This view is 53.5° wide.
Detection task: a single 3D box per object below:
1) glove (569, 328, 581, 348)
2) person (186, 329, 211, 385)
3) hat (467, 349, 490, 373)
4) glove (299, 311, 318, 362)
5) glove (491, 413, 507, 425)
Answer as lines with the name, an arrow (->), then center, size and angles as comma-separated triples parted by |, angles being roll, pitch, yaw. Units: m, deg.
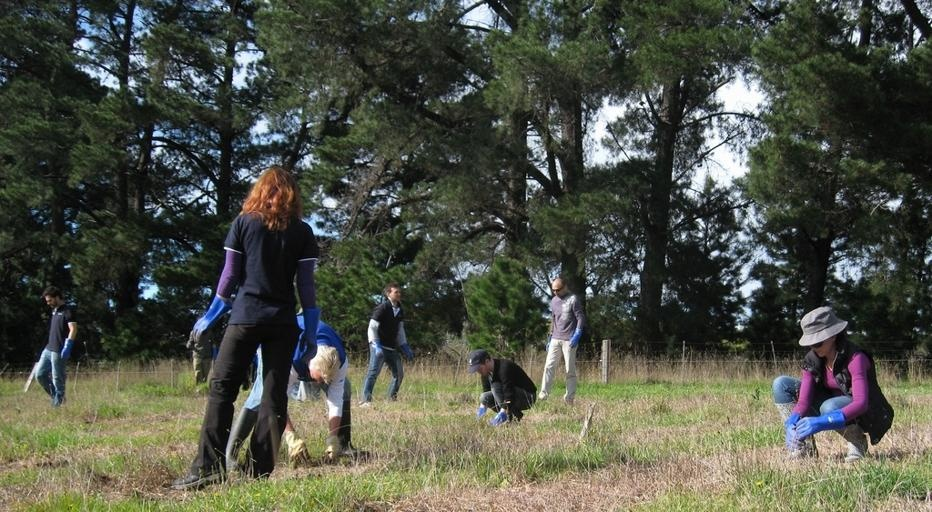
glove -> 3.425, 2.532, 28.291 | 0.154, 0.537, 0.379 | 32, -25, -11
person -> -8.963, 3.457, 31.554 | 0.740, 2.284, 0.603 | 3, 20, -22
hat -> 0.296, 2.949, 25.938 | 0.654, 0.360, 0.466 | -38, 28, -17
glove -> -3.908, 1.866, 23.053 | 0.332, 1.067, 0.746 | 2, 6, -6
glove -> 0.912, 4.542, 25.730 | 0.483, 0.359, 0.342 | 1, -11, 1
